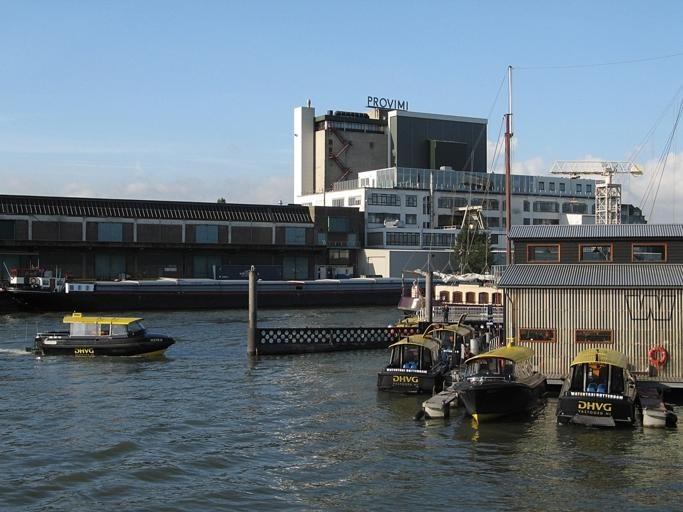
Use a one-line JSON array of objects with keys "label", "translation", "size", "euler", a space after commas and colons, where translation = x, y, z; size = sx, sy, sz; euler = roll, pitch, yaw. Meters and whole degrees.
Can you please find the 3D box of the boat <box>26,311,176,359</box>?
[{"label": "boat", "translation": [-16.467, 5.451, 87.138], "size": [9.596, 2.625, 3.817], "euler": [0, 0, 3]}]
